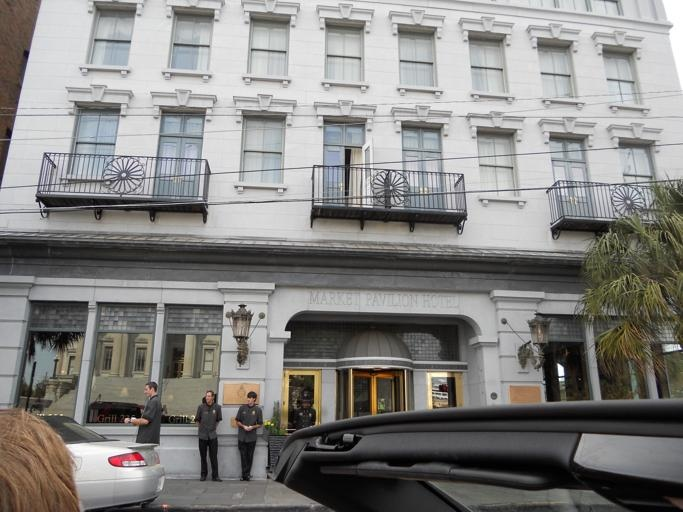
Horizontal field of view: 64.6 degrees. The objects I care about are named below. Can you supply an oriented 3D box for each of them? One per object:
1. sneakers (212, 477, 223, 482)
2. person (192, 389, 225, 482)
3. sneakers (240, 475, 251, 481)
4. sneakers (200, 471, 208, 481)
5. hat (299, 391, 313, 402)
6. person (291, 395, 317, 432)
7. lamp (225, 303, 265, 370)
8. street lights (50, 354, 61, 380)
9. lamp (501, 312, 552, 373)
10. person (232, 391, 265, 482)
[{"bbox_3d":[-3.087,5.558,13.425,0.250,0.087,0.089,-1,-15,15],"label":"sneakers"},{"bbox_3d":[-3.309,4.511,13.637,0.681,2.155,0.817,8,-17,-30],"label":"person"},{"bbox_3d":[-2.404,5.555,13.542,0.212,0.084,0.120,-3,-10,3],"label":"sneakers"},{"bbox_3d":[-3.429,5.461,13.435,0.163,0.184,0.277,3,-14,-12],"label":"sneakers"},{"bbox_3d":[-1.022,4.072,16.021,0.519,0.445,0.261,4,-23,-10],"label":"hat"},{"bbox_3d":[-1.056,4.420,15.148,0.588,0.834,1.563,1,-13,-5],"label":"person"},{"bbox_3d":[-2.658,2.106,14.502,0.771,1.668,0.842,-6,-16,23],"label":"lamp"},{"bbox_3d":[-7.595,2.950,14.423,0.194,0.612,0.049,1,-15,-6],"label":"street lights"},{"bbox_3d":[5.162,2.432,15.416,1.705,1.597,0.983,7,-15,-28],"label":"lamp"},{"bbox_3d":[-2.379,4.553,13.704,0.728,2.137,0.648,2,-15,-9],"label":"person"}]
